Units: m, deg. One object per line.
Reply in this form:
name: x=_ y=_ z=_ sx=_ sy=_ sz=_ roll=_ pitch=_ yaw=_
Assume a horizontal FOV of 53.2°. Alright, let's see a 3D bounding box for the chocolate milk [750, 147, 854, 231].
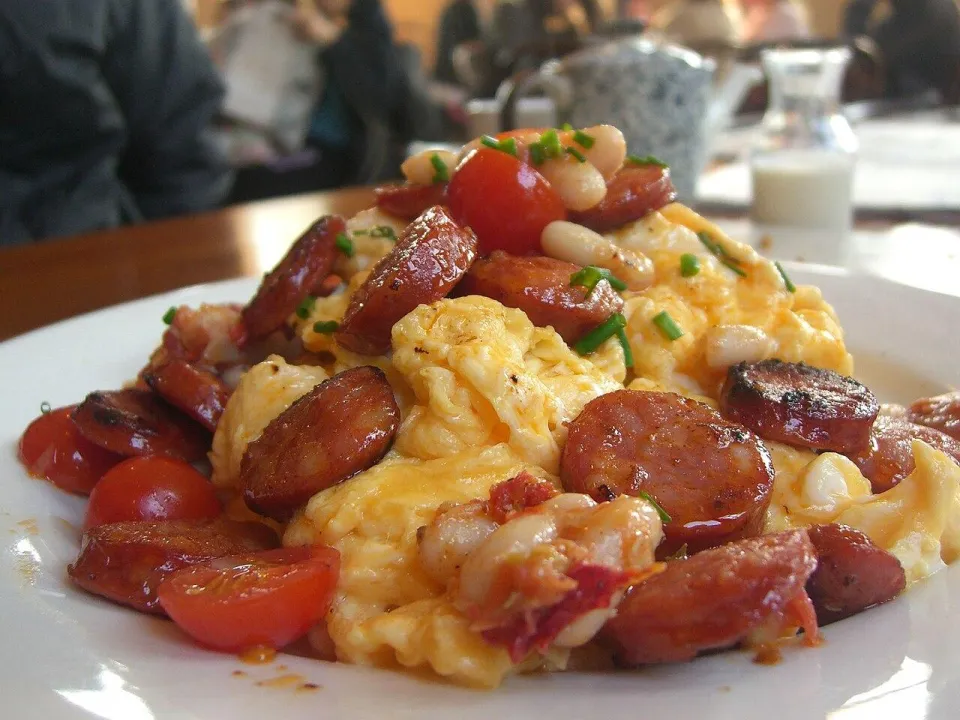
chocolate milk: x=1.300 y=-0.677 z=3.836 sx=0.375 sy=0.207 sz=0.356 roll=1 pitch=15 yaw=4
